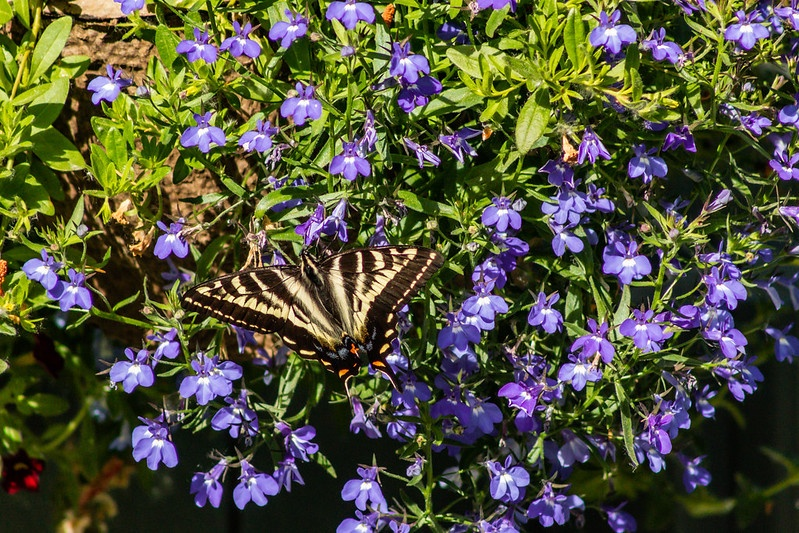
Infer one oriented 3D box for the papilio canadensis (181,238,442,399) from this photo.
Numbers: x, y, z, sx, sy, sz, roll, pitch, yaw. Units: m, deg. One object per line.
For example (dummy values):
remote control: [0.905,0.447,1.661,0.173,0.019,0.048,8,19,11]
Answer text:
papilio canadensis: [-0.197,0.088,2.346,0.486,0.399,0.093,-14,4,18]
